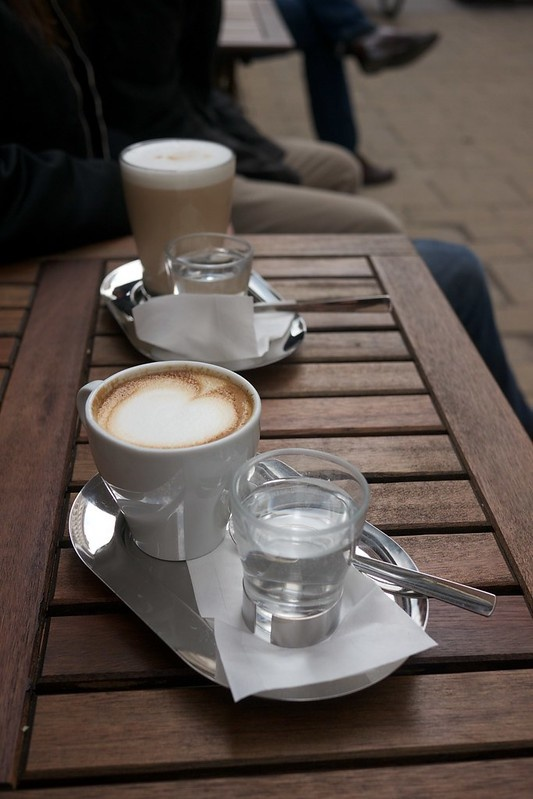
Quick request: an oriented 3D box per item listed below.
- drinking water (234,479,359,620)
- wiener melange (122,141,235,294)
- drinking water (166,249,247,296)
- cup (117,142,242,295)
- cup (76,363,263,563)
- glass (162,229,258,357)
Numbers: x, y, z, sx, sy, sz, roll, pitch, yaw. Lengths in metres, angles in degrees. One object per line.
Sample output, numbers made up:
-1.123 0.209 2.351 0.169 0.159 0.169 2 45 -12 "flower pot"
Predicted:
0.010 0.062 0.291 0.051 0.044 0.057 -1 26 -2 "drinking water"
-0.081 -0.193 0.746 0.134 0.155 0.140 -1 33 -2 "wiener melange"
-0.050 -0.109 0.602 0.060 0.044 0.049 25 40 35 "drinking water"
-0.084 -0.190 0.742 0.136 0.157 0.142 1 34 0 "cup"
-0.053 0.030 0.407 0.086 0.076 0.109 -17 34 -31 "cup"
-0.049 -0.089 0.618 0.062 0.057 0.076 -24 44 -28 "glass"
